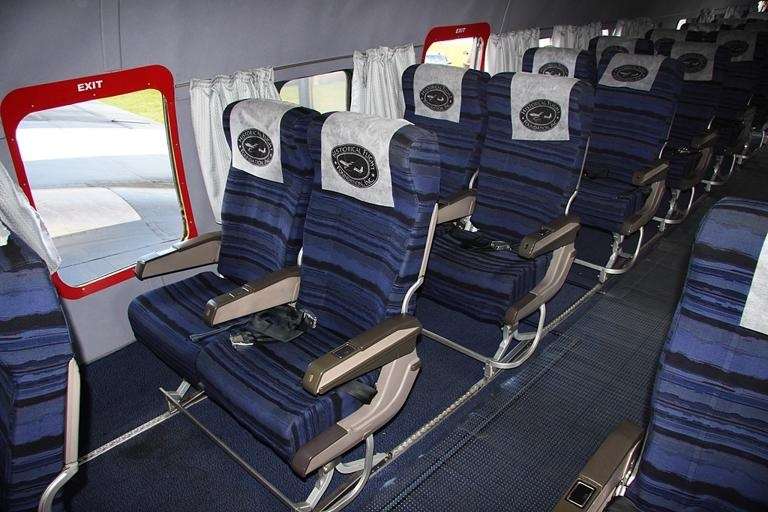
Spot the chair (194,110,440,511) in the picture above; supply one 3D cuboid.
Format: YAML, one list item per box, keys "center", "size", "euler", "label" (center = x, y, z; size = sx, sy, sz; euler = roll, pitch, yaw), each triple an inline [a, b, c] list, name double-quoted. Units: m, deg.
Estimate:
- center: [-0.285, 0.283, 2.469]
  size: [0.967, 1.832, 1.151]
  euler: [22, 35, 32]
  label: "chair"

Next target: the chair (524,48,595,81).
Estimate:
- center: [1.653, -1.911, 4.461]
  size: [0.605, 0.419, 0.420]
  euler: [14, 30, 14]
  label: "chair"
